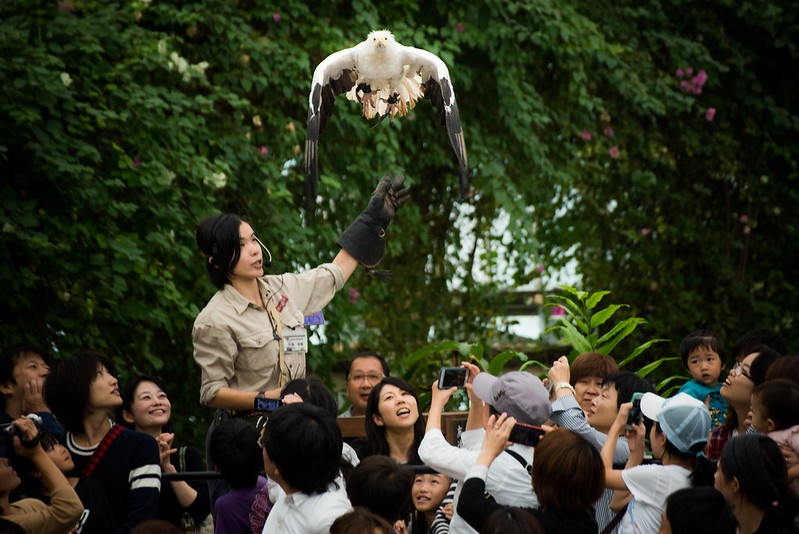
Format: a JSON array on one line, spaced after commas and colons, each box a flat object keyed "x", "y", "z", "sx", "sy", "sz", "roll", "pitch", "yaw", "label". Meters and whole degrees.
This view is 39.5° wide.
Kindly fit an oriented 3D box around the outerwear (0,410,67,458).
[{"x": -2.420, "y": 1.029, "z": 7.208, "sx": 0.382, "sy": 0.140, "sz": 0.317, "roll": 19, "pitch": 41, "yaw": -3, "label": "outerwear"}]

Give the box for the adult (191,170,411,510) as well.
[{"x": -0.605, "y": 1.091, "z": 7.710, "sx": 1.586, "sy": 3.114, "sz": 0.969, "roll": -2, "pitch": 10, "yaw": -3, "label": "adult"}]

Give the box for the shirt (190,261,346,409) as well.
[{"x": -0.830, "y": 0.480, "z": 7.694, "sx": 1.199, "sy": 0.899, "sz": 0.623, "roll": -21, "pitch": 19, "yaw": -29, "label": "shirt"}]

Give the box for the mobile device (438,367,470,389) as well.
[{"x": 0.336, "y": 0.715, "z": 7.155, "sx": 0.140, "sy": 0.099, "sz": 0.218, "roll": 4, "pitch": -3, "yaw": 30, "label": "mobile device"}]

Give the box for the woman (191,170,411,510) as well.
[{"x": -0.631, "y": 1.063, "z": 7.731, "sx": 1.508, "sy": 3.148, "sz": 0.902, "roll": -3, "pitch": 6, "yaw": -9, "label": "woman"}]
